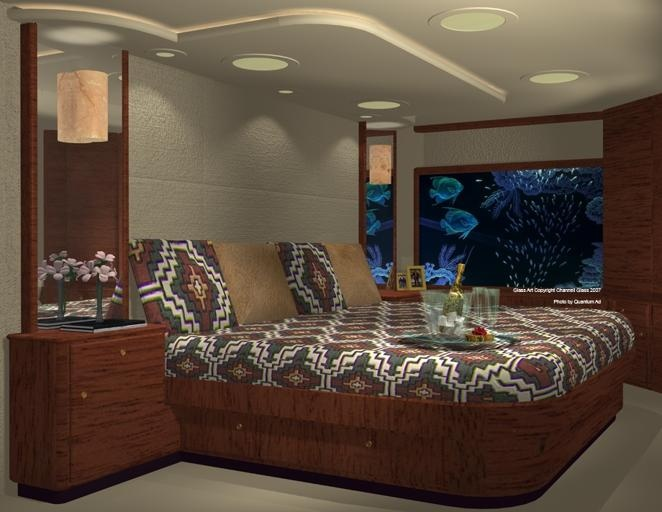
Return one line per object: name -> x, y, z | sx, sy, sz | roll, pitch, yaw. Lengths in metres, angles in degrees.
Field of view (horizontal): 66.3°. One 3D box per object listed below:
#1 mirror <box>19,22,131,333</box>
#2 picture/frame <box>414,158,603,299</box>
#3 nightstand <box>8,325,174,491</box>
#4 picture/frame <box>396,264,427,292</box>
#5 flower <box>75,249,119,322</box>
mirror -> -1.539, -0.504, 3.146 | 0.129, 1.864, 0.746 | -1, -2, 27
picture/frame -> 2.294, -0.341, 6.283 | 2.581, 1.258, 0.057 | 0, -1, 20
nightstand -> -1.283, 0.812, 2.785 | 0.813, 0.796, 0.381 | 1, -2, -24
picture/frame -> 0.952, 0.268, 6.108 | 0.410, 0.281, 0.133 | 3, -18, -17
flower -> -1.429, 0.166, 3.061 | 0.315, 0.329, 0.240 | -2, -1, -9
